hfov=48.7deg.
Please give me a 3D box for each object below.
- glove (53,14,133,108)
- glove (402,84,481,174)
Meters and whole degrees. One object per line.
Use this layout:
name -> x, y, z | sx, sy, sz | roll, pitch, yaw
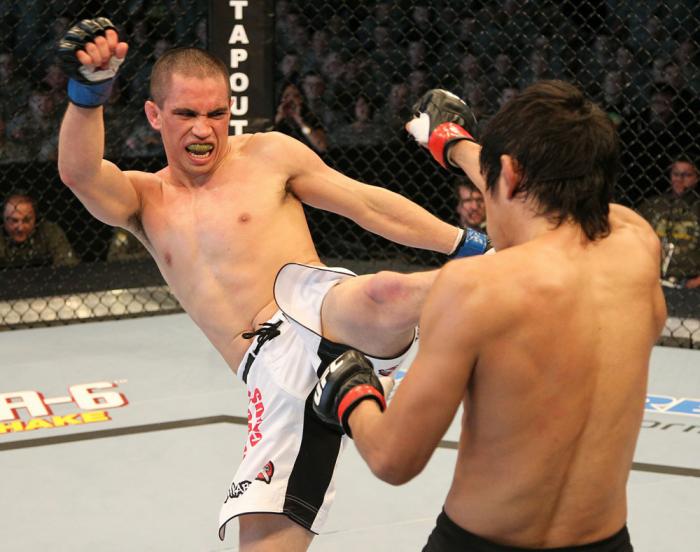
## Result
glove -> -0.797, -0.630, 2.348 | 0.190, 0.269, 0.120 | 4, 28, -21
glove -> 0.327, -0.519, 2.714 | 0.299, 0.224, 0.136 | 45, 9, 17
